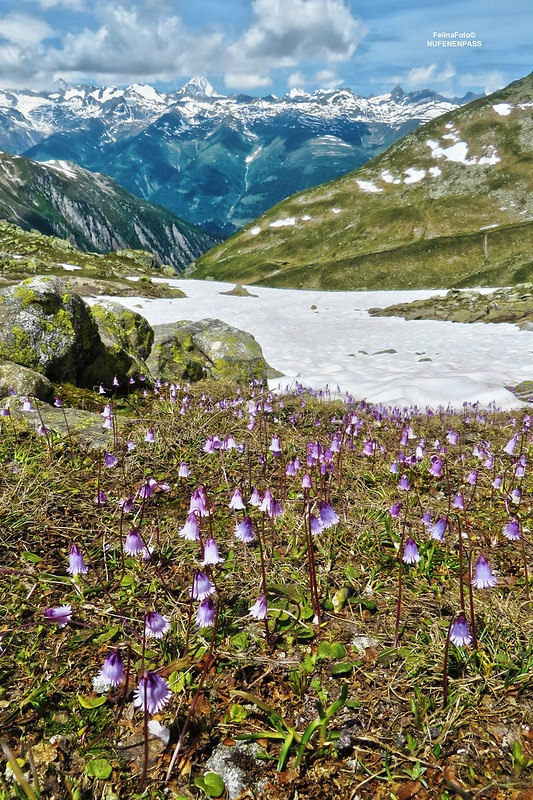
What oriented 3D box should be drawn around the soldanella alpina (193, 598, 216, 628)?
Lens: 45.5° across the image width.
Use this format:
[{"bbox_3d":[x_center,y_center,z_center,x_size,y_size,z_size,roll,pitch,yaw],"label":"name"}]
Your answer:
[{"bbox_3d":[-0.368,1.318,3.914,0.098,0.215,0.183,-4,17,9],"label":"soldanella alpina"}]
